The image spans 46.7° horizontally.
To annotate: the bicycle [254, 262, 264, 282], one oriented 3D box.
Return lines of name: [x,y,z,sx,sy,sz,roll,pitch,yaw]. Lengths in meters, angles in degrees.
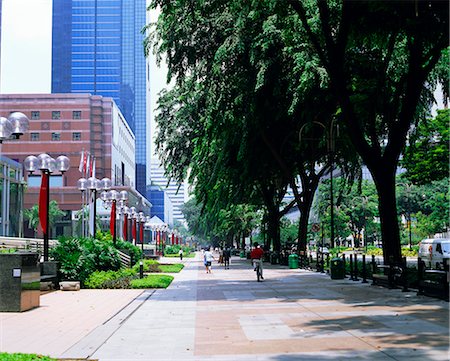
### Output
bicycle: [1.745,4.822,27.435,0.485,1.133,0.643,0,-1,0]

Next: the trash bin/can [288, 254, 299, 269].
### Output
trash bin/can: [4.910,5.859,37.394,0.662,1.060,0.802,-3,-9,0]

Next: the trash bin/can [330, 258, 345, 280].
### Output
trash bin/can: [5.814,4.630,27.194,0.704,1.101,0.674,-5,-9,12]

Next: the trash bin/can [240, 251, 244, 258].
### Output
trash bin/can: [2.227,10.612,74.274,0.642,1.032,0.730,-1,-10,3]
